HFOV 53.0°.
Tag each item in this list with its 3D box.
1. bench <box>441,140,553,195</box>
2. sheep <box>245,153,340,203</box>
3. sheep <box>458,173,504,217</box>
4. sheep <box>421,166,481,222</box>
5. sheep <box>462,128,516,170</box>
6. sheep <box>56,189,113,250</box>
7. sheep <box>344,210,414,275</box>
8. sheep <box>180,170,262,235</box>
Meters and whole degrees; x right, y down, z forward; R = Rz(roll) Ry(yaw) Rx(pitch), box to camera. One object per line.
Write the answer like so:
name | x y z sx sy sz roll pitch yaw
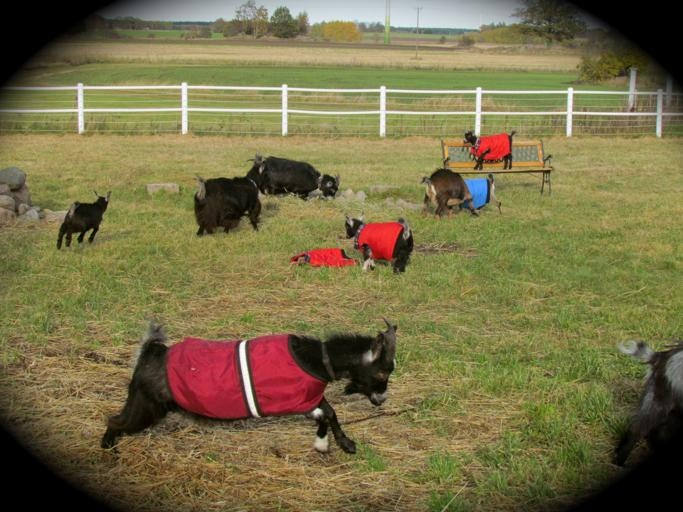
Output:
bench | 4.178 -2.235 17.573 2.633 1.267 0.942 -3 14 -12
sheep | -1.203 -1.861 17.232 2.051 1.061 0.661 11 26 7
sheep | 2.974 -1.375 15.480 1.304 0.963 0.438 -7 7 -31
sheep | 2.505 -1.393 15.476 2.013 1.142 0.597 -8 10 -42
sheep | 3.774 -2.669 17.471 1.351 0.981 0.468 -2 10 -5
sheep | -4.791 -0.701 12.891 0.366 0.931 1.319 14 17 11
sheep | 0.661 -0.207 12.402 1.352 0.954 0.470 7 15 33
sheep | -2.304 -1.111 14.386 0.884 1.386 2.033 11 20 30
